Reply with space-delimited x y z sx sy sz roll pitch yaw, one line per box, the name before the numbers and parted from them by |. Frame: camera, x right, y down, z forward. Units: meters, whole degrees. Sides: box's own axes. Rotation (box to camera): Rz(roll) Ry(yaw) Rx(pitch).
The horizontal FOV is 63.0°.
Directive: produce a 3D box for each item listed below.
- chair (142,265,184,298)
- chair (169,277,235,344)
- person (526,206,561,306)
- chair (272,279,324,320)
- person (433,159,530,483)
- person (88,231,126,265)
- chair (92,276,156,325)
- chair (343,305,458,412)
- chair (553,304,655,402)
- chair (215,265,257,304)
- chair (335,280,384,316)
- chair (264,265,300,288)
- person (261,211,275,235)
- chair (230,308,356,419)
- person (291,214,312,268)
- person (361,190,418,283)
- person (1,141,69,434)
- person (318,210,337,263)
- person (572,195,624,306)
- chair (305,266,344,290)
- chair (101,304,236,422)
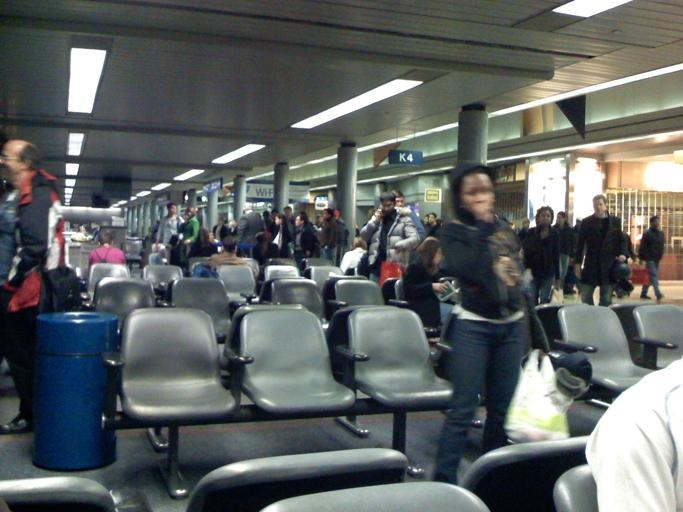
chair | -2.452 0.301 7.741 0.586 0.509 0.551 3 -21 -28
chair | -1.551 0.634 6.315 0.813 0.888 0.742 4 -11 -25
person | 3.218 -0.015 8.970 0.535 1.532 0.373 2 6 5
chair | -0.526 0.444 6.517 0.569 0.485 0.478 1 1 -24
person | 0.739 0.345 3.246 0.605 1.745 0.355 -2 7 -31
person | -4.313 -0.159 10.250 0.656 0.789 0.450 1 7 -10
chair | -2.331 0.435 6.066 0.669 0.637 0.586 3 -15 -27
chair | 0.430 0.762 4.292 0.636 0.521 0.795 3 -3 -25
chair | 2.310 0.815 4.987 0.696 0.663 0.762 0 -5 -21
chair | -1.445 0.387 7.838 0.520 0.584 0.481 -2 -15 -27
chair | 0.190 0.477 6.339 0.361 0.413 0.348 1 -12 -17
chair | -0.860 0.268 8.030 0.361 0.312 0.331 3 -12 -14
person | -1.947 -0.861 14.835 0.243 0.277 0.751 -2 33 -9
chair | -0.331 0.732 4.027 0.669 0.501 0.812 4 -1 -24
person | -0.909 -0.449 13.156 0.418 1.183 0.579 1 6 -5
person | 0.694 0.012 7.790 0.774 1.755 0.632 1 1 39
person | -2.362 0.342 4.275 0.370 1.959 0.422 2 6 7
person | -0.277 -0.473 12.719 0.353 1.193 0.536 -1 6 -16
person | 3.851 0.014 8.209 0.757 1.773 0.521 3 7 33
chair | -0.232 0.303 8.029 0.322 0.360 0.363 5 -12 -20
chair | -1.136 0.686 3.857 0.717 0.576 0.848 4 -3 -23
